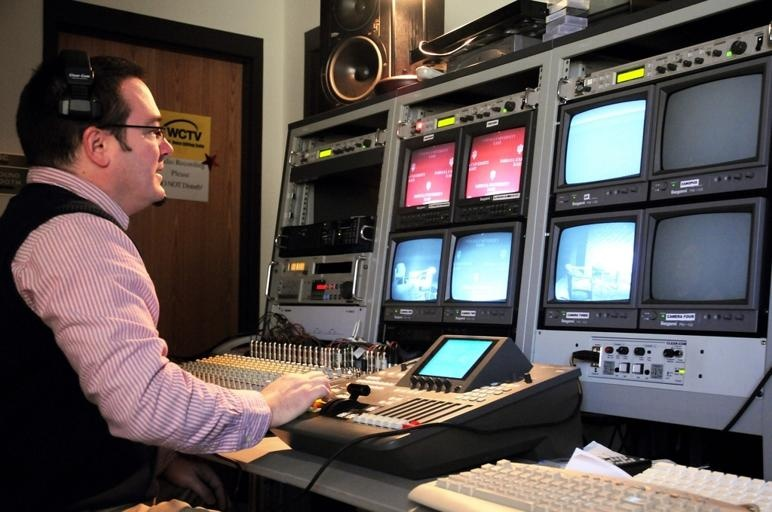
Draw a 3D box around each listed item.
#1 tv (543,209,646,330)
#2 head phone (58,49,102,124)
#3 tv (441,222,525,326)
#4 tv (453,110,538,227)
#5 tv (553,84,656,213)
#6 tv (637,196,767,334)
[{"bbox_3d":[0.727,0.055,1.933,0.264,0.430,0.412,14,-15,-41],"label":"tv"},{"bbox_3d":[-0.815,-0.443,1.494,0.101,0.179,0.226,1,-4,-20],"label":"head phone"},{"bbox_3d":[0.371,0.068,2.207,0.333,0.355,0.104,3,1,42],"label":"tv"},{"bbox_3d":[0.432,-0.349,2.263,0.344,0.403,0.102,3,1,43],"label":"tv"},{"bbox_3d":[0.748,-0.365,1.976,0.353,0.419,0.071,3,1,40],"label":"tv"},{"bbox_3d":[0.970,0.033,1.745,0.326,0.445,0.105,3,1,37],"label":"tv"}]
